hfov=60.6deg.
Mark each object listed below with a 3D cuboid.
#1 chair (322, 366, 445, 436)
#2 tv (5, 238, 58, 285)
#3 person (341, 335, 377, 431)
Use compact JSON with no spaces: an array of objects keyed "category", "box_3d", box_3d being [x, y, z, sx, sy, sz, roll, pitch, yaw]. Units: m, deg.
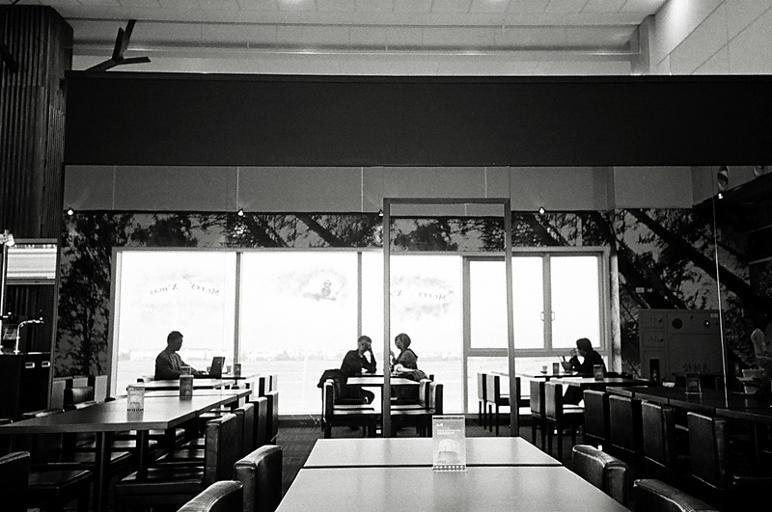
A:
[{"category":"chair","box_3d":[-0.035,1.279,5.630,1.037,0.511,0.298,-1,-7,-3]},{"category":"tv","box_3d":[-4.526,0.074,8.453,0.608,0.560,0.350,0,-7,-15]},{"category":"person","box_3d":[-0.249,1.070,5.643,0.326,0.756,0.242,0,-12,29]}]
